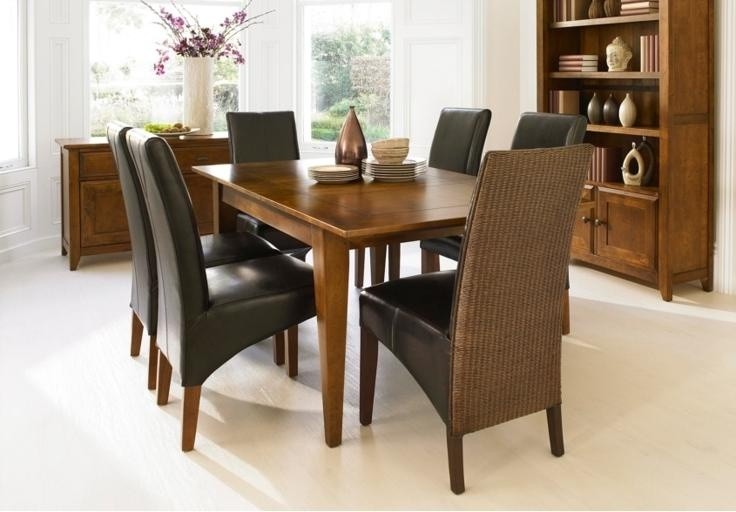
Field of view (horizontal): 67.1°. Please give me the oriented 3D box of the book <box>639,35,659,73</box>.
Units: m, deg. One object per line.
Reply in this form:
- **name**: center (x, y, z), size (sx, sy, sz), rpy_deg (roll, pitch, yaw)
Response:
- **book**: center (1.943, -1.399, 3.851), size (0.049, 0.229, 0.155), rpy_deg (-9, 19, -21)

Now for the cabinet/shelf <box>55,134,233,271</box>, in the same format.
- **cabinet/shelf**: center (-1.446, -0.339, 3.478), size (1.079, 0.758, 0.383), rpy_deg (-6, 12, -34)

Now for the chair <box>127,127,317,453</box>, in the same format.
- **chair**: center (-0.752, 0.012, 2.803), size (0.830, 1.297, 0.768), rpy_deg (-7, 24, -30)

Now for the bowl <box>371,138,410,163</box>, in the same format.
- **bowl**: center (0.119, -0.576, 3.056), size (0.155, 0.095, 0.154), rpy_deg (0, 2, 0)
